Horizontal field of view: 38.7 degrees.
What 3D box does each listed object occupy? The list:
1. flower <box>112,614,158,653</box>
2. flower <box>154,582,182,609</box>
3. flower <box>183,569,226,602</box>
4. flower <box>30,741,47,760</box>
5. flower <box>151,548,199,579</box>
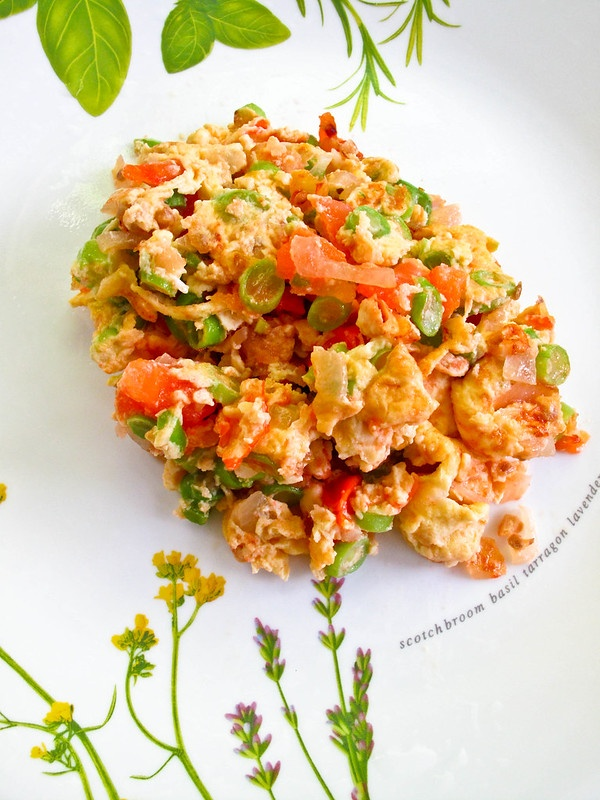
[{"bbox_3d":[-0.414,0.592,2.171,0.090,0.089,0.023,-7,-27,-7],"label":"flower"},{"bbox_3d":[-0.334,0.505,2.195,0.069,0.066,0.017,-6,-27,-9],"label":"flower"},{"bbox_3d":[-0.254,0.478,2.237,0.087,0.083,0.066,13,-74,-44],"label":"flower"},{"bbox_3d":[-0.637,0.857,2.080,0.041,0.034,0.013,-4,-27,-13],"label":"flower"},{"bbox_3d":[-0.330,0.425,2.211,0.088,0.028,0.079,6,-19,13],"label":"flower"}]
